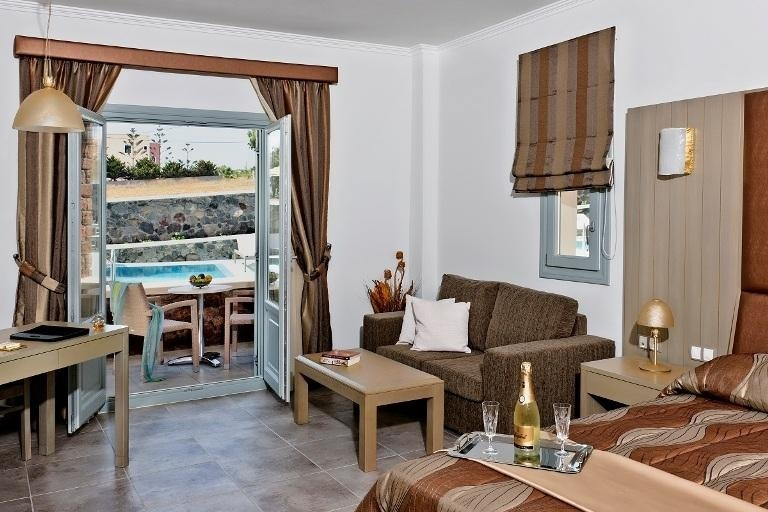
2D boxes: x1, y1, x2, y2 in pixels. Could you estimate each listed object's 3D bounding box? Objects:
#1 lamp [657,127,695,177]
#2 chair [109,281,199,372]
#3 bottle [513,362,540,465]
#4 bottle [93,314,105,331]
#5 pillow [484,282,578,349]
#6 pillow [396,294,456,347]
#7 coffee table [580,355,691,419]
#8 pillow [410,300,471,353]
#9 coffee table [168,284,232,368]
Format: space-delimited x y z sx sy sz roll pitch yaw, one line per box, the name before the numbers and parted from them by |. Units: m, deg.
lamp | 2.161 -0.751 4.079 0.243 0.345 0.139 6 10 37
chair | -2.588 0.781 6.246 0.888 1.047 0.678 -4 9 -30
bottle | 0.726 0.756 2.779 0.126 0.480 0.271 2 8 15
bottle | -2.143 0.495 4.169 0.116 0.142 0.115 -2 -8 -17
pillow | 1.310 0.543 4.866 0.295 0.594 0.636 18 -4 -22
pillow | 0.370 0.627 5.302 0.502 0.483 0.145 1 8 -41
coffee table | 1.760 0.901 3.960 0.446 0.606 0.662 0 1 -28
pillow | 0.540 0.669 5.199 0.463 0.406 0.172 0 -20 -1
coffee table | -2.259 0.794 6.748 0.860 0.943 0.862 -1 -1 -29
